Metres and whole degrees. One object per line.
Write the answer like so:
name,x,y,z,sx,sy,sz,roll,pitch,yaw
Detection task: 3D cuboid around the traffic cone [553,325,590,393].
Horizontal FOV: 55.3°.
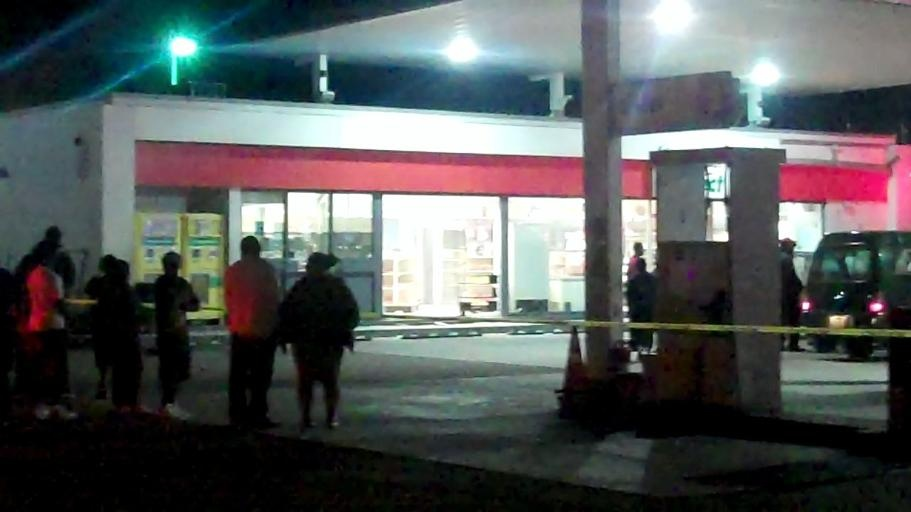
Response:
traffic cone,2.000,1.800,14.468,0.687,1.143,0.667,-5,14,6

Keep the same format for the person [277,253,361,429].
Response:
person,-2.245,1.387,14.084,1.174,2.756,1.025,10,18,33
